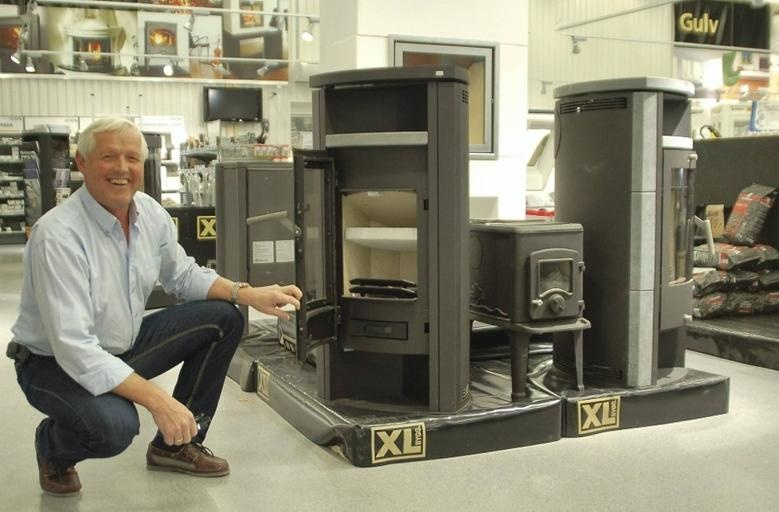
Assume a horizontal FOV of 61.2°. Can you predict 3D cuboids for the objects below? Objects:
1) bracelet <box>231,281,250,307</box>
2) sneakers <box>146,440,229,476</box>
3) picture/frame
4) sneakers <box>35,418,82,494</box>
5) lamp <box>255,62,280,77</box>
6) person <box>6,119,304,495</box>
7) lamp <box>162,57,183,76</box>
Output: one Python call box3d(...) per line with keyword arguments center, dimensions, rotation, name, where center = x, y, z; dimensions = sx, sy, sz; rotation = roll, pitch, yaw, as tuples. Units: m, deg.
box3d(center=(-0.827, 0.205, 3.580), dimensions=(0.075, 0.122, 0.118), rotation=(7, 1, 22), name="bracelet")
box3d(center=(-1.070, 1.081, 3.589), dimensions=(0.432, 0.169, 0.170), rotation=(3, 2, -4), name="sneakers")
box3d(center=(0.505, -1.331, 5.614), dimensions=(0.879, 0.987, 0.145), rotation=(-3, 12, -15), name="picture/frame")
box3d(center=(-1.706, 0.963, 3.411), dimensions=(0.166, 0.210, 0.470), rotation=(-4, 54, -42), name="sneakers")
box3d(center=(-3.107, -4.788, 16.927), dimensions=(0.671, 0.368, 0.157), rotation=(-17, 27, -39), name="lamp")
box3d(center=(-1.322, 0.257, 3.341), dimensions=(0.961, 1.863, 0.786), rotation=(3, 12, 15), name="person")
box3d(center=(-5.119, -4.426, 15.447), dimensions=(0.462, 0.406, 1.441), rotation=(-3, 12, -11), name="lamp")
